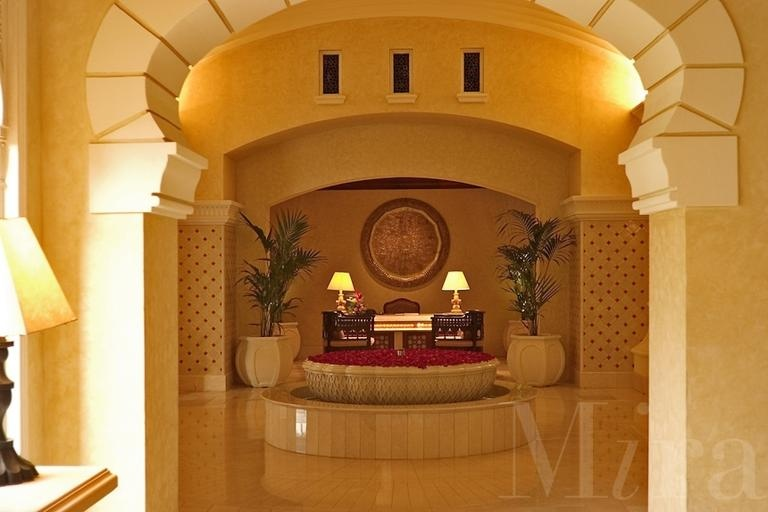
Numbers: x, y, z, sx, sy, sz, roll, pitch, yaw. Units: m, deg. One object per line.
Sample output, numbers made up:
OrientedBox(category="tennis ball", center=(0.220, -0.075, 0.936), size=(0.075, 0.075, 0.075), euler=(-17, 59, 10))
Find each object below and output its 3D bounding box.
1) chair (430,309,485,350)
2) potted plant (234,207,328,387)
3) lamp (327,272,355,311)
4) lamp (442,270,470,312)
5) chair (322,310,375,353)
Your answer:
OrientedBox(category="chair", center=(1.381, 1.473, 12.052), size=(1.059, 0.813, 0.844), euler=(2, -8, -7))
OrientedBox(category="potted plant", center=(-1.892, 0.590, 10.846), size=(1.250, 2.712, 3.093), euler=(-1, 0, -10))
OrientedBox(category="lamp", center=(-0.885, 0.752, 13.148), size=(0.542, 0.827, 0.566), euler=(0, -2, 21))
OrientedBox(category="lamp", center=(1.527, 0.716, 13.059), size=(0.737, 1.226, 0.750), euler=(-1, 0, 9))
OrientedBox(category="chair", center=(-0.672, 1.406, 11.585), size=(0.867, 0.547, 0.665), euler=(0, 0, 0))
